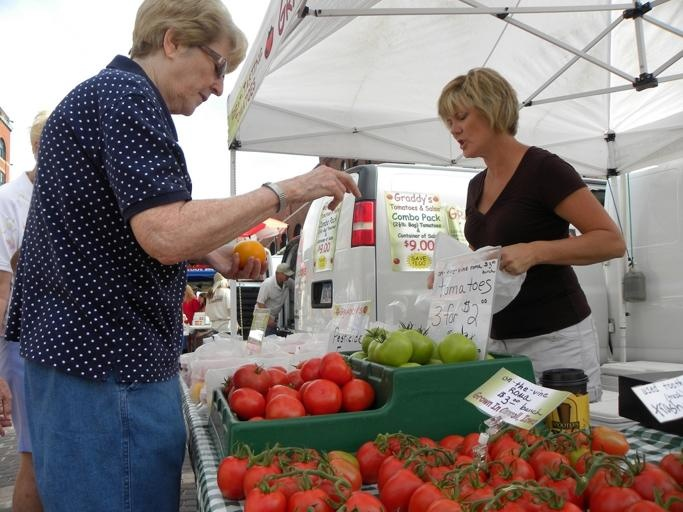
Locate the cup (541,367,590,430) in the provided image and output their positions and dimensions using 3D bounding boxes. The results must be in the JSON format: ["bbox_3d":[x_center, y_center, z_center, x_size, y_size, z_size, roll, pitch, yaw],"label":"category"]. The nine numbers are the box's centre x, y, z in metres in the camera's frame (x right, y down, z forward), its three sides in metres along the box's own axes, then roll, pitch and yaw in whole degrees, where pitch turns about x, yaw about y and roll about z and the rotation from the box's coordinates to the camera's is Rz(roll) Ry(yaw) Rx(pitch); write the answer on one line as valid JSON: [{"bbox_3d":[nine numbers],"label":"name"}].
[{"bbox_3d":[0.773,0.503,1.658,0.150,0.216,0.156,-3,4,0],"label":"cup"}]

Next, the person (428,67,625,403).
[{"bbox_3d":[0.942,-0.110,2.433,0.841,1.733,0.744,-4,-6,29],"label":"person"}]

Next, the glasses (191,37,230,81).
[{"bbox_3d":[-0.451,-0.685,1.704,0.141,0.045,0.142,35,-17,46],"label":"glasses"}]

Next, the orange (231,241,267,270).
[{"bbox_3d":[-0.435,0.011,2.279,0.147,0.132,0.131,-1,35,6],"label":"orange"}]

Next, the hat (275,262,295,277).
[{"bbox_3d":[-0.865,0.245,7.286,0.309,0.175,0.203,2,14,13],"label":"hat"}]

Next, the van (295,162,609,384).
[{"bbox_3d":[1.424,0.390,5.511,3.576,2.079,2.351,3,-16,-28],"label":"van"}]
